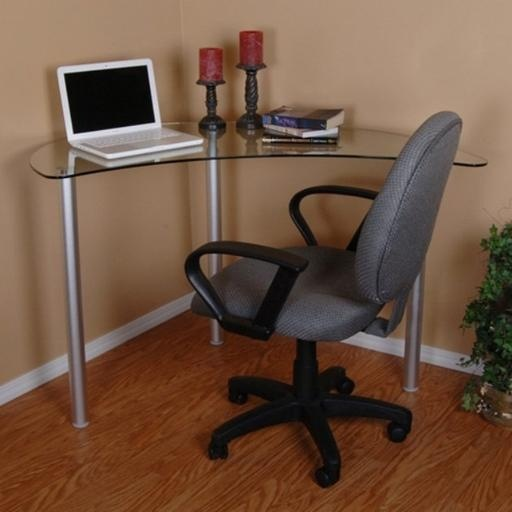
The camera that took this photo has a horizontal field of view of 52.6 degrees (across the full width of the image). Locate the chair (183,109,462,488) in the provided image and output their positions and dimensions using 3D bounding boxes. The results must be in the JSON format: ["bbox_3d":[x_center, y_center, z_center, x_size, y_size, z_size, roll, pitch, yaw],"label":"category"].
[{"bbox_3d":[0.191,0.117,1.508,0.630,1.054,0.598,7,29,18],"label":"chair"}]

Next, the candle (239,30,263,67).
[{"bbox_3d":[-0.015,-0.760,1.913,0.128,0.132,0.122,-4,18,-11],"label":"candle"}]

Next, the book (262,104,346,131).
[{"bbox_3d":[0.182,-0.491,1.847,0.159,0.035,0.155,13,27,31],"label":"book"}]

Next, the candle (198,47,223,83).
[{"bbox_3d":[-0.160,-0.694,1.890,0.127,0.131,0.115,1,18,3],"label":"candle"}]
